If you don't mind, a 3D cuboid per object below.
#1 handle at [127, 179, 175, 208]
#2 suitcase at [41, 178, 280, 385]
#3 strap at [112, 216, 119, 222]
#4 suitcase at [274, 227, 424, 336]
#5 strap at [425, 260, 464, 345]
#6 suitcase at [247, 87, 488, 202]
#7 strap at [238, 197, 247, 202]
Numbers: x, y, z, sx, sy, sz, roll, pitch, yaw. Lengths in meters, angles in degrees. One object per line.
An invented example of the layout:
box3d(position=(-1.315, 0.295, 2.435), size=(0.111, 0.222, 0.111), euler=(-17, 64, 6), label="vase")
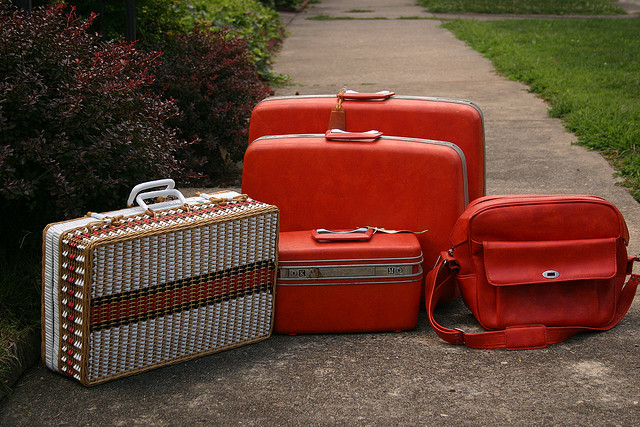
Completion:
box3d(position=(-1.091, -0.111, 4.960), size=(0.241, 0.219, 0.075), euler=(-4, 57, -35), label="handle")
box3d(position=(-1.011, 0.405, 5.127), size=(0.533, 1.089, 1.477), euler=(17, 19, 39), label="suitcase")
box3d(position=(-1.254, 0.031, 4.816), size=(0.033, 0.011, 0.022), euler=(10, 6, -37), label="strap")
box3d(position=(0.167, 0.443, 5.396), size=(1.064, 0.635, 0.601), euler=(-2, 11, -1), label="suitcase")
box3d(position=(0.789, 0.612, 5.114), size=(0.296, 0.473, 0.132), euler=(0, -13, -11), label="strap")
box3d(position=(0.308, -0.456, 5.487), size=(1.072, 0.608, 0.199), euler=(2, 7, 5), label="suitcase")
box3d(position=(-0.511, -0.093, 5.127), size=(0.050, 0.024, 0.044), euler=(-1, 8, 0), label="strap")
